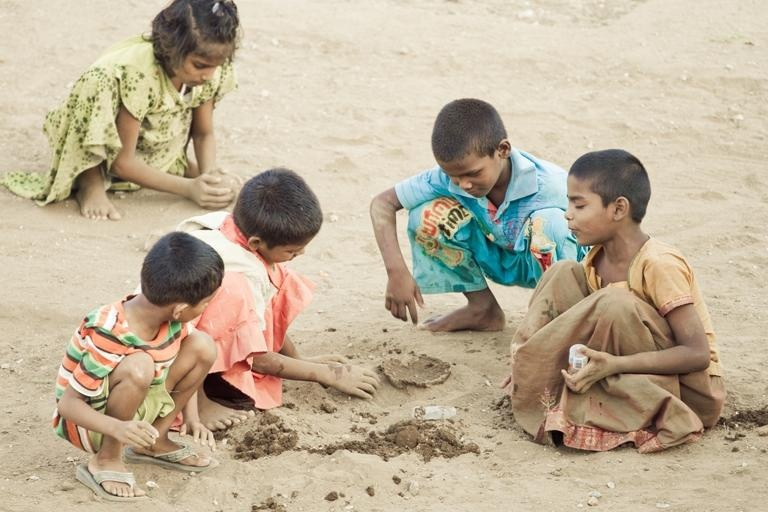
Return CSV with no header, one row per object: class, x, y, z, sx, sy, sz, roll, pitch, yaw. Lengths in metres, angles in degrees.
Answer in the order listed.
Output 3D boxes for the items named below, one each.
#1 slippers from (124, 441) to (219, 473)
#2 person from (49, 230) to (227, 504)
slippers,-1.188,1.140,5.777,0.502,0.119,0.180,5,33,-1
person,-1.295,0.561,5.589,0.855,1.257,0.675,-6,31,-35
